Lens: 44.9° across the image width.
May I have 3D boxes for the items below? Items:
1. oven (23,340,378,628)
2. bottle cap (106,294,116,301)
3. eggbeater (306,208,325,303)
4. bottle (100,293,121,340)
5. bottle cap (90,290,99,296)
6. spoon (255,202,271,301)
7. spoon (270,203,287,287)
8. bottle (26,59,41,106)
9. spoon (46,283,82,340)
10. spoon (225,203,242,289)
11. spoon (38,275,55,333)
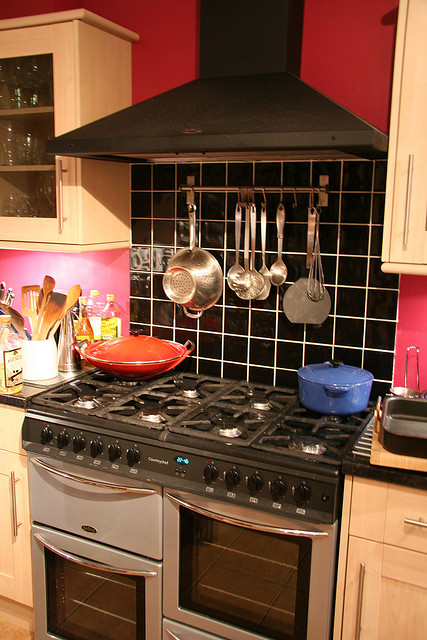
[{"bbox_3d":[-0.066,0.657,1.600,0.901,0.847,0.485,8,15,24],"label":"oven"},{"bbox_3d":[-0.404,-0.091,2.047,0.031,0.021,0.032,2,8,14],"label":"bottle cap"},{"bbox_3d":[0.330,-0.204,1.644,0.062,0.299,0.050,0,10,-5],"label":"eggbeater"},{"bbox_3d":[-0.415,0.010,2.090,0.113,0.225,0.117,0,-2,0],"label":"bottle"},{"bbox_3d":[-0.474,-0.110,2.070,0.029,0.021,0.029,-6,9,-33],"label":"bottle cap"},{"bbox_3d":[0.172,-0.217,1.720,0.044,0.324,0.104,1,10,5],"label":"spoon"},{"bbox_3d":[0.207,-0.243,1.685,0.058,0.272,0.082,4,11,17],"label":"spoon"},{"bbox_3d":[-0.598,-0.791,1.735,0.064,0.011,0.212,-21,-12,-28],"label":"bottle"},{"bbox_3d":[-0.539,-0.031,1.852,0.071,0.184,0.185,5,12,24],"label":"spoon"},{"bbox_3d":[0.072,-0.249,1.772,0.060,0.288,0.126,1,10,0],"label":"spoon"},{"bbox_3d":[-0.597,-0.062,1.882,0.037,0.216,0.029,1,-13,46],"label":"spoon"}]
